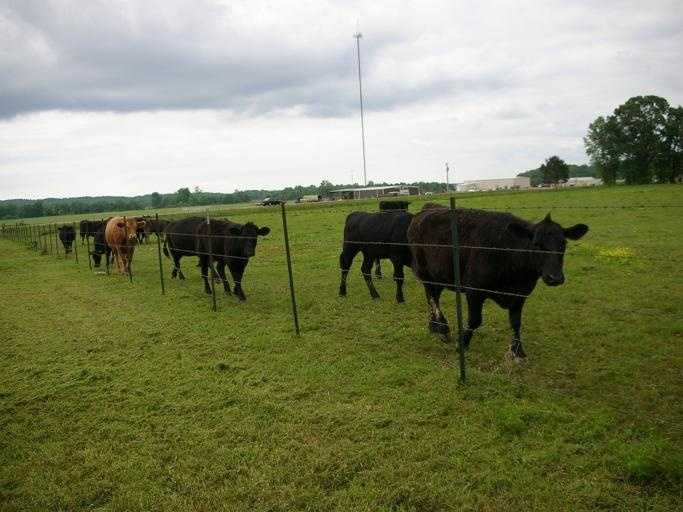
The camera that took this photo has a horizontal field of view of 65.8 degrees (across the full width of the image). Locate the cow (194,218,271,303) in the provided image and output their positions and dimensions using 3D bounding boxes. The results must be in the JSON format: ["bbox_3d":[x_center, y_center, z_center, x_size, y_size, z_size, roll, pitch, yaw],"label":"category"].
[{"bbox_3d":[-3.307,0.070,15.698,0.938,2.389,3.717,-8,12,-35],"label":"cow"}]

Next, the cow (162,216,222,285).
[{"bbox_3d":[-4.900,-0.239,17.634,3.411,2.155,1.011,2,7,31],"label":"cow"}]

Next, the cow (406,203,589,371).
[{"bbox_3d":[2.747,0.520,10.615,1.373,2.868,5.089,-2,5,-19],"label":"cow"}]

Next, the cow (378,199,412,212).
[{"bbox_3d":[1.758,-1.688,17.477,0.897,0.329,0.933,1,5,23],"label":"cow"}]
